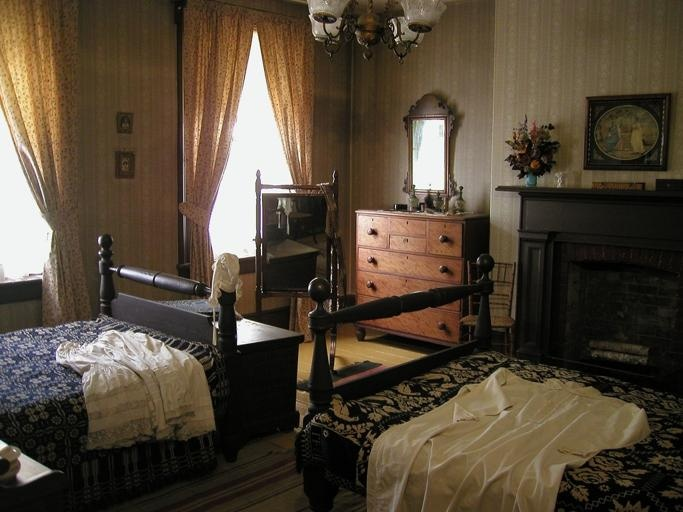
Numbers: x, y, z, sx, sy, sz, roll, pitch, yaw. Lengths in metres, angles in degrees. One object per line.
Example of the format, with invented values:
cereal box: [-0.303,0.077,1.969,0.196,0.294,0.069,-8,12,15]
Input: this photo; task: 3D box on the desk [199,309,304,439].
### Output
desk: [-0.581,0.707,4.182,0.915,0.980,0.692,-3,5,-37]

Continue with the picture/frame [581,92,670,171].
picture/frame: [2.595,-1.128,4.877,0.639,0.688,0.069,7,11,37]

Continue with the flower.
flower: [1.850,-1.070,5.410,0.527,0.684,0.536,-9,5,-35]

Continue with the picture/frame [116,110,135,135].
picture/frame: [-2.077,-1.273,5.152,0.209,0.266,0.032,-6,10,-43]

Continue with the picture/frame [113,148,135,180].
picture/frame: [-2.084,-0.876,5.188,0.052,0.242,0.224,3,7,28]

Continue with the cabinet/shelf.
cabinet/shelf: [0.825,0.192,5.378,1.328,1.615,0.830,3,3,43]

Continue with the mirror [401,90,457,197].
mirror: [1.040,-1.320,6.473,0.674,1.183,0.188,7,13,35]
